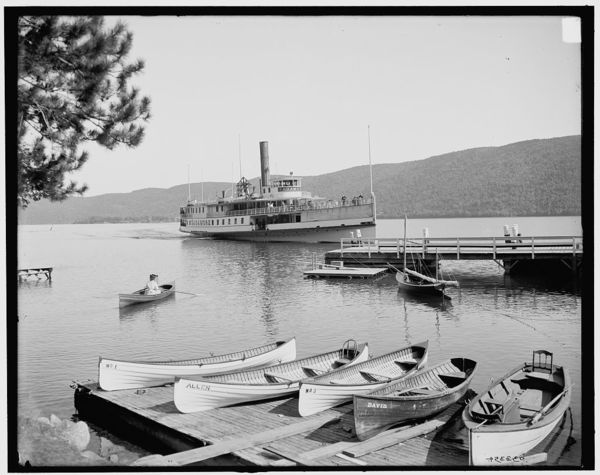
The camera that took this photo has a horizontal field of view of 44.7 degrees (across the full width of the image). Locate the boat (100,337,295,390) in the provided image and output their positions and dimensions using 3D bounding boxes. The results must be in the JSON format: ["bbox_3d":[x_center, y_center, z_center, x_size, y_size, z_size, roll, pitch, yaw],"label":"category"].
[{"bbox_3d":[-3.055,4.107,23.838,6.723,1.333,1.372,-3,2,-21],"label":"boat"}]

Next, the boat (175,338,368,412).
[{"bbox_3d":[-0.333,4.999,23.021,7.724,1.618,2.055,-6,6,-43],"label":"boat"}]

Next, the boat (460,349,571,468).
[{"bbox_3d":[6.072,4.594,20.210,2.215,2.225,6.403,5,10,31],"label":"boat"}]

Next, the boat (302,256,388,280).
[{"bbox_3d":[3.118,2.222,48.754,5.275,0.504,4.265,1,8,23],"label":"boat"}]

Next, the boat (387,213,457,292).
[{"bbox_3d":[6.468,0.811,40.989,1.311,4.886,5.313,1,-1,-28],"label":"boat"}]

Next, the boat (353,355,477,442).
[{"bbox_3d":[3.543,4.482,21.138,1.435,1.294,5.176,-4,0,37],"label":"boat"}]
